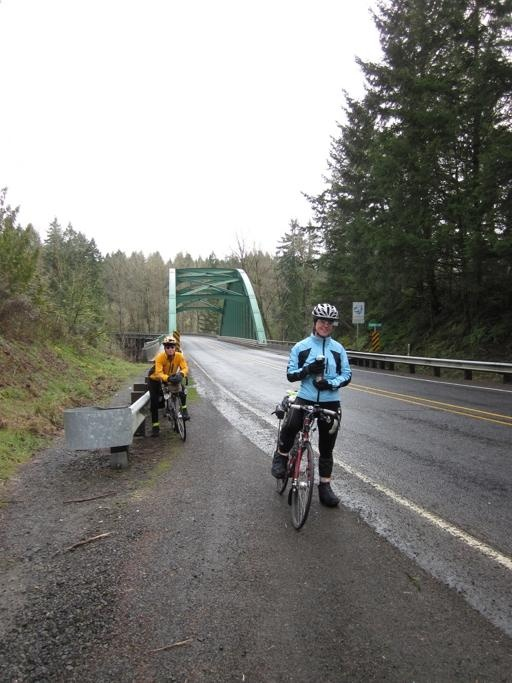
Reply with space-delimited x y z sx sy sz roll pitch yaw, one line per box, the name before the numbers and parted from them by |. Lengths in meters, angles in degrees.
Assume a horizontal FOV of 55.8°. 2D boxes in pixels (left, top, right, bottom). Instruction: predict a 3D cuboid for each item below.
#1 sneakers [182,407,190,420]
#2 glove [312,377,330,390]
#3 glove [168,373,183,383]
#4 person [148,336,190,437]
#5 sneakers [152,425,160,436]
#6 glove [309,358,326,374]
sneakers | -1.092 1.154 7.469 0.091 0.208 0.443 -2 2 -8
glove | 0.571 0.373 4.334 0.092 0.048 0.128 18 14 -27
glove | -1.288 0.607 7.729 0.244 0.210 0.281 -3 3 -10
person | -1.435 0.700 7.969 0.563 1.633 1.685 -1 6 -24
sneakers | -1.615 1.438 7.777 0.119 0.172 0.261 -3 3 -17
glove | 0.542 0.227 4.288 0.103 0.141 0.141 -6 -13 -46
